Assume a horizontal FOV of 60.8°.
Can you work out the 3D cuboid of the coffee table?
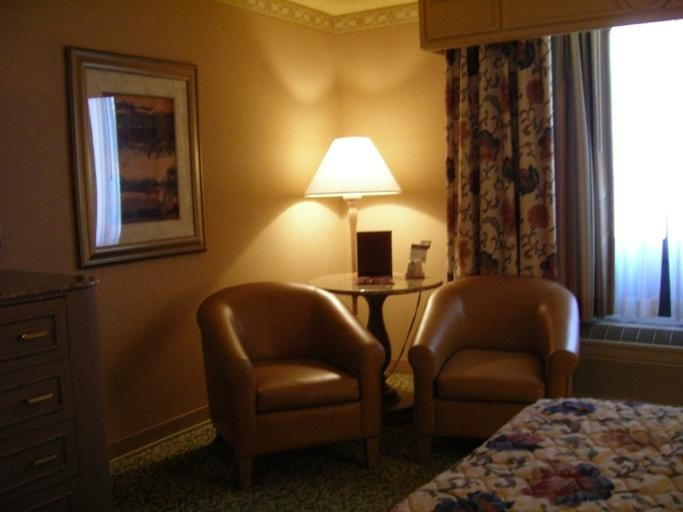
[{"bbox_3d":[0.287,0.529,4.083,0.848,0.871,0.856,-8,14,-30],"label":"coffee table"}]
